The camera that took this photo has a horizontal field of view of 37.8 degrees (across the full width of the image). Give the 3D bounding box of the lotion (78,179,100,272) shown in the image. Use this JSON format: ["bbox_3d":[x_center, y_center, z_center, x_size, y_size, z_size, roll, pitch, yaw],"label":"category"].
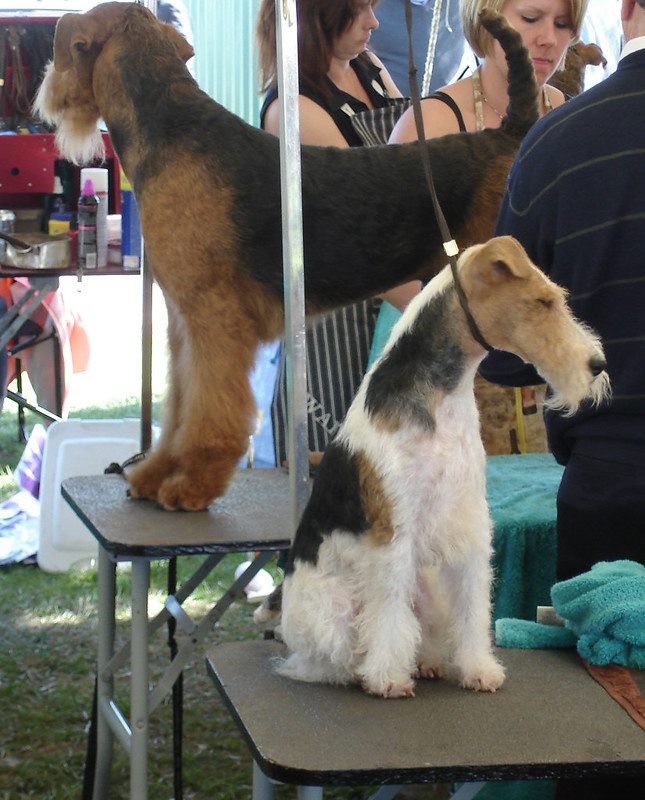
[{"bbox_3d":[-1.033,-0.757,4.151,0.106,0.384,0.102,14,14,43],"label":"lotion"}]

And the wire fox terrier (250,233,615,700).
[{"bbox_3d":[0.118,0.081,1.454,0.672,0.748,0.354,3,7,36],"label":"wire fox terrier"}]

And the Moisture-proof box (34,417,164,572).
[{"bbox_3d":[-0.882,0.439,3.947,0.105,0.434,0.341,13,42,33],"label":"Moisture-proof box"}]

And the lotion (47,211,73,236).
[{"bbox_3d":[-1.217,-0.804,4.338,0.129,0.136,0.127,3,12,2],"label":"lotion"}]
